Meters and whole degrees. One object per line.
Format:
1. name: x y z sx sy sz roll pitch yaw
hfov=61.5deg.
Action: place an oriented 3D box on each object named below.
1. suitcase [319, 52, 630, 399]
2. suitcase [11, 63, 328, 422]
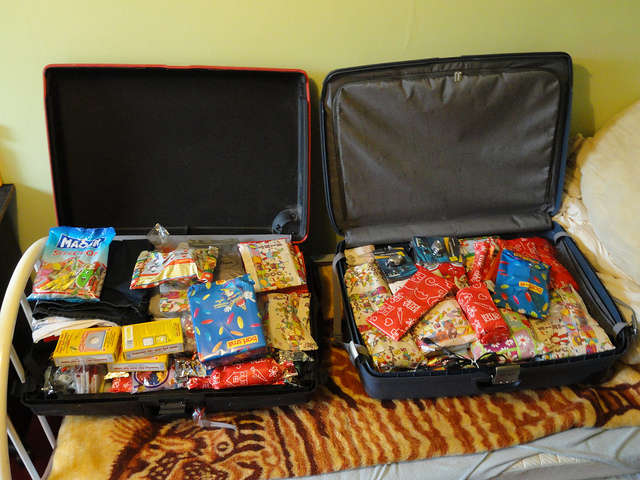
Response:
1. suitcase: 0.536 -0.059 1.892 0.948 0.770 1.018 -2 36 3
2. suitcase: -0.503 0.103 2.175 1.145 1.054 1.230 -1 52 -4
